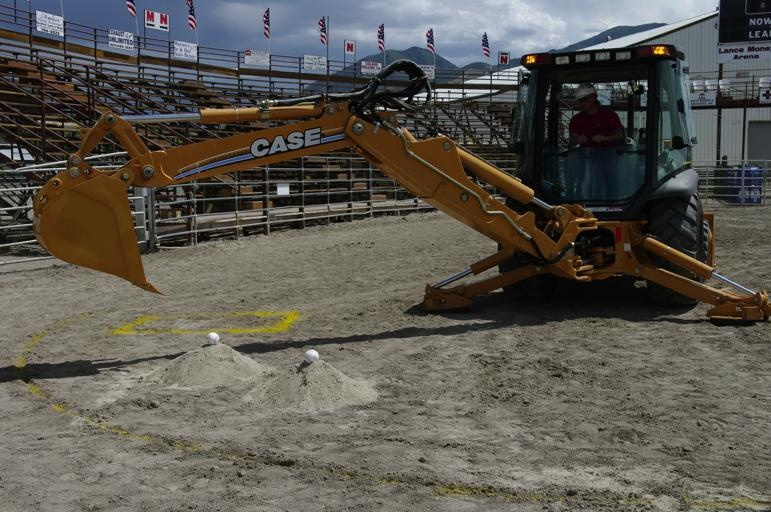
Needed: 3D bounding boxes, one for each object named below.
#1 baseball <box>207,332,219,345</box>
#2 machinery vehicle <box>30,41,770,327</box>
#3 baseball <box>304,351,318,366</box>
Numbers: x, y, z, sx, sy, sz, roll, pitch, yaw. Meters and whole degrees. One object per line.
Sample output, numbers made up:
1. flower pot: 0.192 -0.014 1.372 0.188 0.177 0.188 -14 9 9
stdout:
1. baseball: -1.934 0.924 7.181 0.111 0.122 0.248 -9 11 -20
2. machinery vehicle: -0.020 -1.043 8.942 9.679 2.371 4.507 0 2 -11
3. baseball: -0.749 1.046 6.560 0.167 0.105 0.166 -17 -7 4
